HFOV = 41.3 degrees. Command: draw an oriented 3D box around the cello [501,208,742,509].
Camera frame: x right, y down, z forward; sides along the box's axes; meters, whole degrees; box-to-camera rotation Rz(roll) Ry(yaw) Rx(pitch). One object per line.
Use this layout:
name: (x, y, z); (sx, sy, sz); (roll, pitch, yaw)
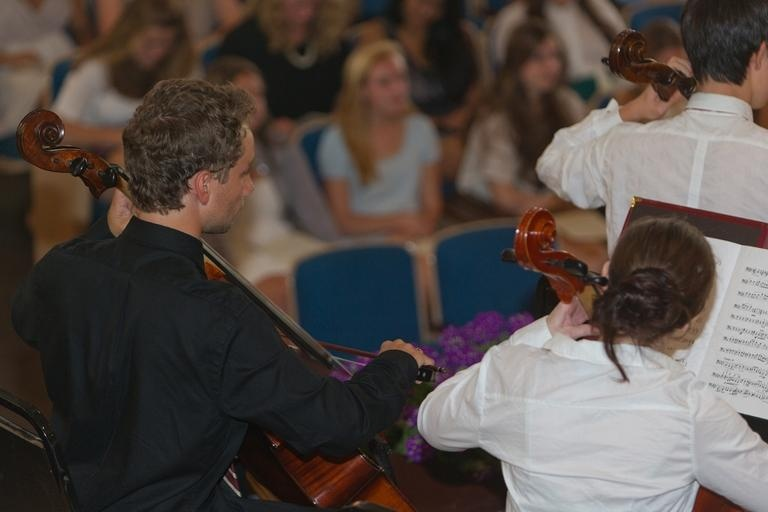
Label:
cello: (0.670, 0.463, 3.226); (0.567, 1.144, 0.328); (-14, -11, 29)
